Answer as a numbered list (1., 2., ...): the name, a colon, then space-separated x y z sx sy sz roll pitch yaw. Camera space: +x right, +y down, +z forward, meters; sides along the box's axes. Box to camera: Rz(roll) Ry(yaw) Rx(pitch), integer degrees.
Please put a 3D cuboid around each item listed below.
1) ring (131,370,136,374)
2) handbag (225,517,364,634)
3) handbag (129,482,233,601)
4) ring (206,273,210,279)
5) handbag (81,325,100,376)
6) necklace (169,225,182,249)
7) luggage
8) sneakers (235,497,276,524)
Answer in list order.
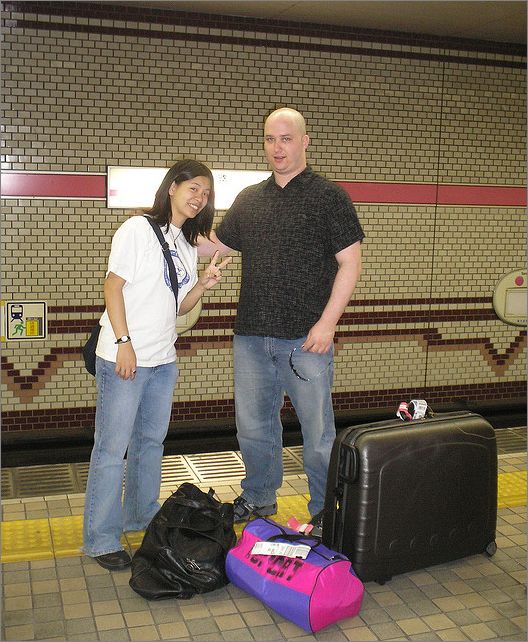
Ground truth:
1. ring: -0.607 0.233 2.534 0.005 0.014 0.011 3 7 41
2. handbag: 0.099 1.041 2.263 0.306 0.291 0.566 0 3 -41
3. handbag: -0.330 0.953 2.367 0.344 0.175 0.459 23 46 -7
4. ring: -0.300 -0.238 2.855 0.016 0.022 0.008 -4 12 -34
5. handbag: -0.863 0.140 2.747 0.078 0.227 0.164 7 -2 3
6. necklace: -0.446 -0.427 2.730 0.024 0.089 0.065 1 4 26
7. luggage: 0.735 0.809 2.625 0.835 0.665 0.305 -4 6 -23
8. sneakers: -0.078 1.101 3.255 0.319 0.143 0.111 2 -4 -39
